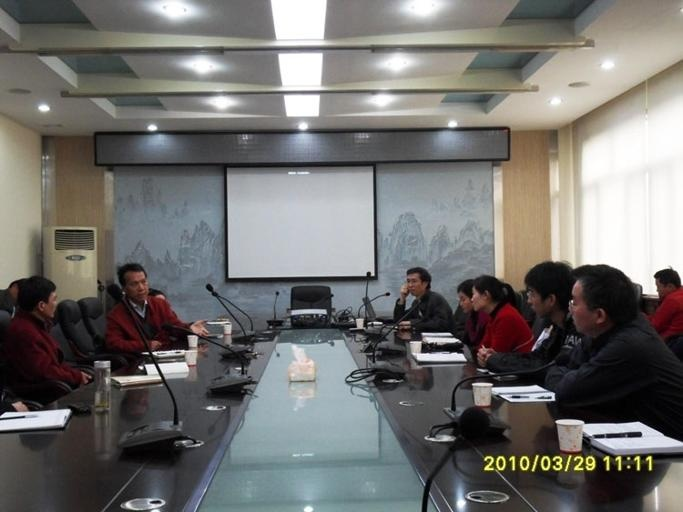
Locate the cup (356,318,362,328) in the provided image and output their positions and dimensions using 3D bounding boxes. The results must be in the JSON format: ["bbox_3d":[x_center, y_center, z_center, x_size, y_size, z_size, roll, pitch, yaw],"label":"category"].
[{"bbox_3d":[0.168,0.634,4.689,0.064,0.053,0.066,1,-6,0],"label":"cup"}]

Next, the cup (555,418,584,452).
[{"bbox_3d":[0.775,0.606,1.714,0.092,0.077,0.100,0,-7,0],"label":"cup"}]

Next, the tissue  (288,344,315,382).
[{"bbox_3d":[-0.211,0.585,2.744,0.163,0.183,0.135,2,4,-2],"label":"tissue "}]

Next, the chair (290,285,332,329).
[{"bbox_3d":[-0.333,0.543,5.669,0.341,0.495,0.430,0,-25,1],"label":"chair"}]

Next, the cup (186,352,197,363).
[{"bbox_3d":[-0.935,0.632,3.116,0.069,0.074,0.069,0,-8,0],"label":"cup"}]

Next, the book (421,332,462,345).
[{"bbox_3d":[0.769,0.650,3.945,0.170,0.057,0.170,0,-3,-7],"label":"book"}]

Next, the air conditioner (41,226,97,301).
[{"bbox_3d":[-3.635,0.005,6.849,0.655,1.068,0.611,-11,30,-39],"label":"air conditioner"}]

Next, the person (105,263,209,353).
[{"bbox_3d":[-1.836,0.486,4.919,0.512,0.943,0.538,-25,0,23],"label":"person"}]

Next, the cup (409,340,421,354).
[{"bbox_3d":[0.503,0.614,3.399,0.076,0.076,0.077,0,-4,0],"label":"cup"}]

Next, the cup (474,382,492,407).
[{"bbox_3d":[0.625,0.619,2.225,0.084,0.070,0.091,0,-8,0],"label":"cup"}]

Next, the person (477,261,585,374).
[{"bbox_3d":[1.003,0.363,2.975,0.623,0.719,0.480,-2,-3,10],"label":"person"}]
